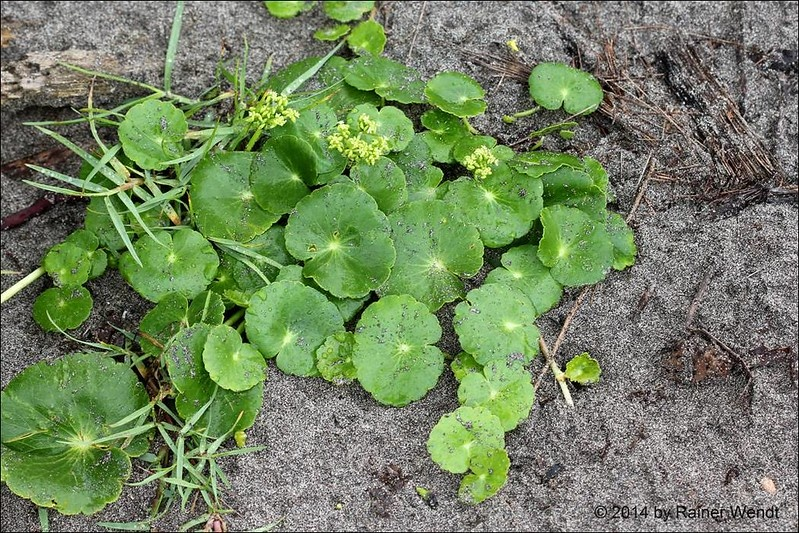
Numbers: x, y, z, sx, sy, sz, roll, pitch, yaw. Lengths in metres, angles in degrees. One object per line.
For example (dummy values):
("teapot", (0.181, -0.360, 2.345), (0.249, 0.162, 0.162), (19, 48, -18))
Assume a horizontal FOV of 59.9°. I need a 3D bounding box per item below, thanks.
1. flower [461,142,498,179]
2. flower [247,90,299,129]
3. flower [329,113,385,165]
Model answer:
("flower", (0.510, -0.663, 4.335), (0.212, 0.099, 0.212), (36, 98, -7))
("flower", (-0.800, -0.959, 4.338), (0.270, 0.144, 0.271), (-13, 83, 1))
("flower", (-0.256, -0.772, 4.294), (0.312, 0.119, 0.328), (31, 71, -3))
